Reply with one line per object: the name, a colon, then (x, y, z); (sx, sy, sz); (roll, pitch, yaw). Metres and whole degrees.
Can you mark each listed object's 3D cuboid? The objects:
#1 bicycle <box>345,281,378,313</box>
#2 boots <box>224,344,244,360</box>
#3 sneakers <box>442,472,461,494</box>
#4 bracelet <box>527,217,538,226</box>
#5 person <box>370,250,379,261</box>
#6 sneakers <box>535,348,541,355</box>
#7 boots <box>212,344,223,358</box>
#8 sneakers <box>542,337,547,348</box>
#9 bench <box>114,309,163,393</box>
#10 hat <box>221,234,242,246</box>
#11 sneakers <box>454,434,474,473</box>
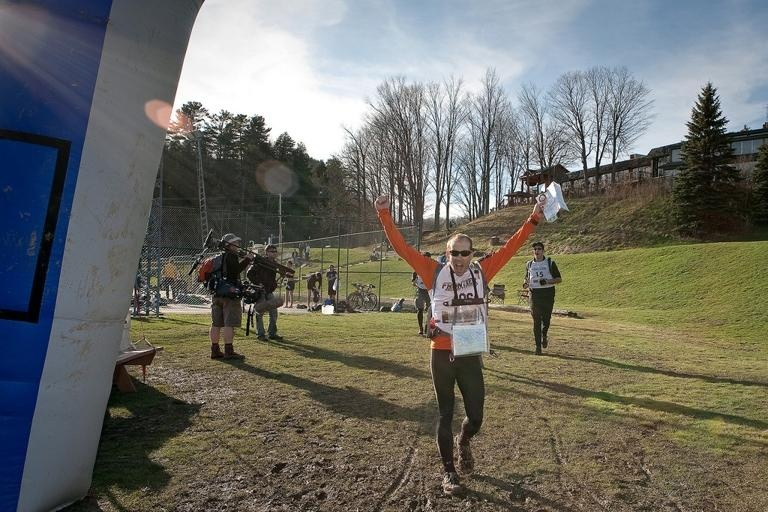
bicycle: (-0.933, 1.966, 22.379); (1.876, 1.200, 0.917); (1, 1, -23)
boots: (-2.867, 1.784, 8.705); (0.496, 0.332, 0.178); (0, -1, -24)
sneakers: (0.711, 2.338, 4.869); (0.197, 0.204, 0.110); (1, 1, 8)
bracelet: (1.767, -0.410, 5.486); (0.120, 0.082, 0.122); (10, 16, 41)
person: (-0.853, -0.044, 42.660); (0.882, 1.318, 0.672); (3, 8, 28)
sneakers: (3.343, 2.042, 10.098); (0.127, 0.122, 0.123); (-1, -9, 9)
boots: (-3.176, 1.761, 8.856); (0.211, 0.282, 0.307); (1, 1, -21)
sneakers: (3.545, 1.879, 10.273); (0.093, 0.254, 0.107); (-3, 0, -1)
bench: (-3.873, 1.420, 7.034); (0.618, 0.861, 0.942); (2, 1, -13)
hat: (-2.926, -0.320, 9.049); (0.334, 0.233, 0.456); (8, 11, 42)
sneakers: (0.894, 2.175, 5.225); (0.174, 0.469, 0.207); (-3, 0, 1)
